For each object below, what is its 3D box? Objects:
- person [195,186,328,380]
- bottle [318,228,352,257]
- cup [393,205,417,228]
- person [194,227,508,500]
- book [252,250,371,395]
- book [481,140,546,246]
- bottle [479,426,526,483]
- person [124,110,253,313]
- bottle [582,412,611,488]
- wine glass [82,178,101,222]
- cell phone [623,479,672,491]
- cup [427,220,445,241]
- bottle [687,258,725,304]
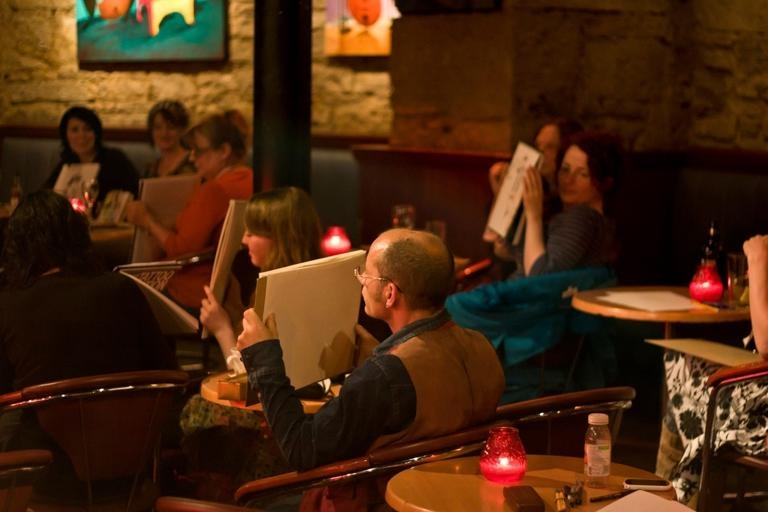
[{"bbox_3d":[-0.608,0.086,3.335,0.249,0.788,0.767,15,20,20],"label":"person"},{"bbox_3d":[-0.315,-0.100,4.563,0.225,0.253,0.220,-3,3,-45],"label":"bottle"},{"bbox_3d":[0.132,-0.260,4.422,0.161,0.166,0.160,1,0,0],"label":"cup"},{"bbox_3d":[-0.023,0.285,2.278,0.891,0.735,0.388,-2,9,-12],"label":"person"},{"bbox_3d":[-0.260,0.260,2.545,0.523,0.473,0.071,-15,23,-41],"label":"book"},{"bbox_3d":[0.774,-0.346,3.862,0.115,0.468,0.474,15,14,-16],"label":"book"},{"bbox_3d":[0.375,0.619,2.214,0.152,0.155,0.160,1,-3,42],"label":"bottle"},{"bbox_3d":[-1.317,-0.296,4.921,0.875,1.558,0.843,19,22,20],"label":"person"},{"bbox_3d":[0.685,0.605,2.200,0.082,0.218,0.150,3,9,18],"label":"bottle"},{"bbox_3d":[-2.018,-0.351,4.795,0.133,0.376,0.134,0,8,-41],"label":"wine glass"},{"bbox_3d":[0.820,0.707,2.141,0.100,0.016,0.052,1,0,4],"label":"cell phone"},{"bbox_3d":[0.327,-0.161,4.315,0.132,0.147,0.127,1,5,0],"label":"cup"},{"bbox_3d":[1.599,0.126,3.410,0.153,0.222,0.156,-9,16,3],"label":"bottle"}]
